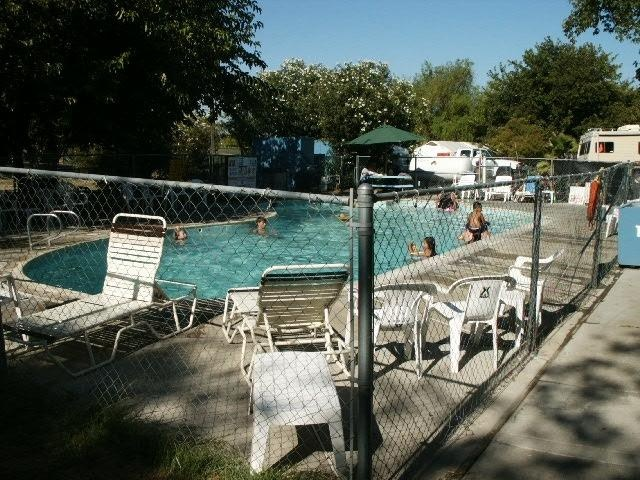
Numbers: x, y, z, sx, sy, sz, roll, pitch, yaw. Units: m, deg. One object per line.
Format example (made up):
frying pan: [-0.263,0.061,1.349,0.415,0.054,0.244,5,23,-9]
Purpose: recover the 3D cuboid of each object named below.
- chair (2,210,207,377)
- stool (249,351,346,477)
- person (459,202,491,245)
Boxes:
chair: [-2.634,0.599,7.178,1.334,1.852,2.631,9,13,26]
stool: [-0.213,1.512,5.067,0.808,0.704,1.109,-1,9,-6]
person: [3.245,-0.389,11.671,0.551,0.817,1.449,2,9,16]
